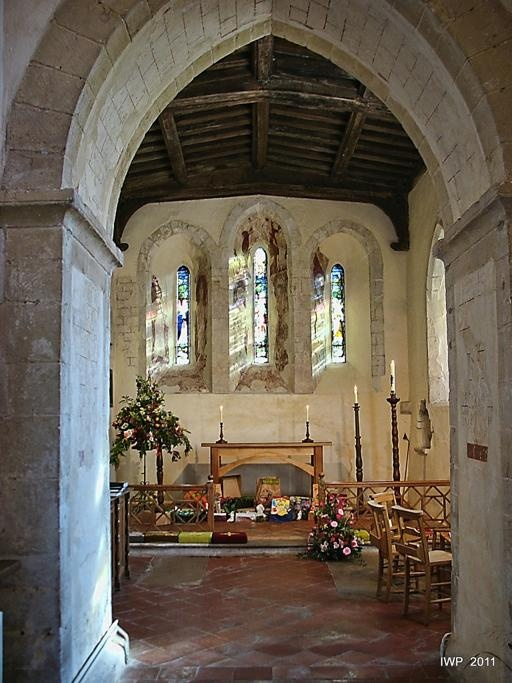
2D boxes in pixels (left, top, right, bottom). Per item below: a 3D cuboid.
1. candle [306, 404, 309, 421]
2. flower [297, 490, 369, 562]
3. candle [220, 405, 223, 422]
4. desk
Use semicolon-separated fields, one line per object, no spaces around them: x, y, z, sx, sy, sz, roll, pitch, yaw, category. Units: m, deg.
0.890;1.206;10.123;0.062;0.249;0.062;-1;-10;4;candle
0.846;1.995;6.411;0.505;0.715;0.433;-1;-5;5;flower
-0.564;1.204;10.060;0.063;0.258;0.065;2;-10;-14;candle
0.161;1.862;8.453;1.682;0.982;0.742;-2;-4;4;desk
